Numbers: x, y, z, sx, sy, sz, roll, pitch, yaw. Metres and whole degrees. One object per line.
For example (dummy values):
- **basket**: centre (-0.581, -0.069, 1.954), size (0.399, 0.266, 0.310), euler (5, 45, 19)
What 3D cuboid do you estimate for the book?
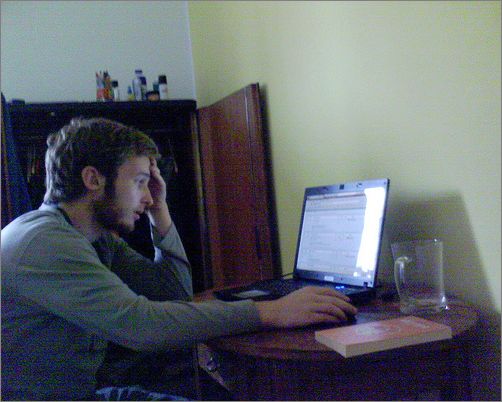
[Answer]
- **book**: centre (0.227, 0.213, 0.771), size (0.142, 0.015, 0.086), euler (-4, 3, -21)

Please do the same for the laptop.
- **laptop**: centre (0.150, 0.077, 1.101), size (0.295, 0.279, 0.365), euler (0, 3, -28)
